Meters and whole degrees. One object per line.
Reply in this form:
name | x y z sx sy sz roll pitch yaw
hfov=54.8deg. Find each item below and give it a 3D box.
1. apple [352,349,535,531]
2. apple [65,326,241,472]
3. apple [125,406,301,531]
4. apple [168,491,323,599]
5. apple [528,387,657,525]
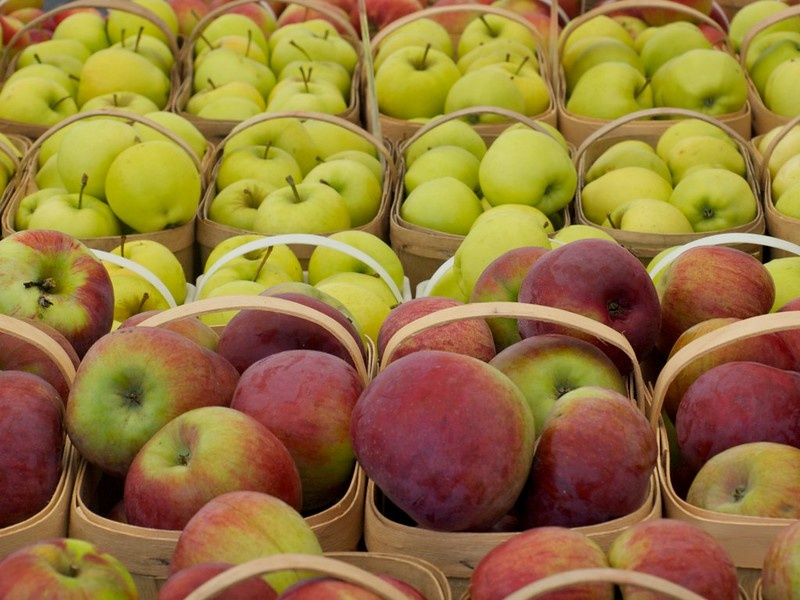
apple | 0.061 0.224 1.178 0.278 0.255 0.140 3 16 12
apple | -0.405 0.127 1.345 0.203 0.255 0.252 0 12 6
apple | -0.288 0.303 1.198 0.188 0.213 0.186 18 -25 -39
apple | -0.202 0.311 1.031 0.143 0.146 0.139 21 13 13
apple | 0.311 0.255 1.257 0.153 0.226 0.152 28 -6 16
